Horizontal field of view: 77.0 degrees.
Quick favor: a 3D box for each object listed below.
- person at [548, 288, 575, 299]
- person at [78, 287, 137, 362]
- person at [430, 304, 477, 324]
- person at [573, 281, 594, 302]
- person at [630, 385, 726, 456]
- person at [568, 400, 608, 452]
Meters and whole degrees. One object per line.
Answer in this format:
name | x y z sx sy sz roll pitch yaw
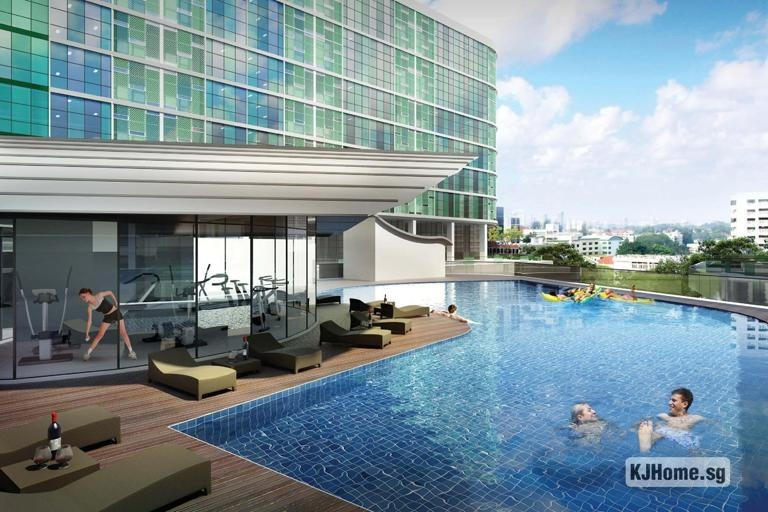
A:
person | 8.988 1.973 24.413 1.296 0.420 0.869 -6 3 -11
person | -7.040 1.703 12.239 1.373 1.883 0.882 8 13 21
person | 2.794 2.220 18.345 1.170 0.357 0.819 6 -2 -13
person | 9.681 1.784 23.228 0.701 0.412 1.524 -9 1 43
person | 5.775 3.403 9.894 2.277 0.638 1.552 -14 1 -31
person | 4.115 3.476 10.061 0.626 0.821 1.216 -27 -2 18
